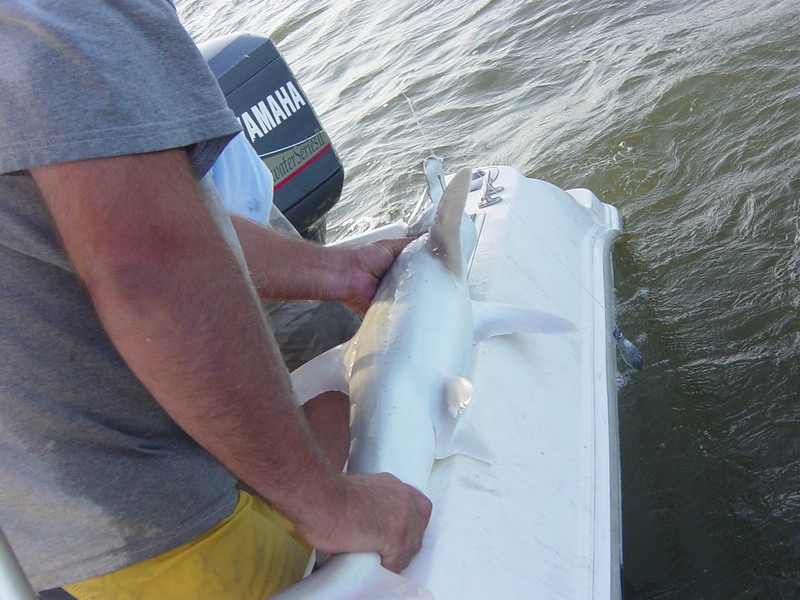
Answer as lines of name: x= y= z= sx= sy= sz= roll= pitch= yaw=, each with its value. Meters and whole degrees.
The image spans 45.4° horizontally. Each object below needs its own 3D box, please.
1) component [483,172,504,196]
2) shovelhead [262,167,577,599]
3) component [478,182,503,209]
component: x=0.433 y=-0.523 z=4.436 sx=0.102 sy=0.044 sz=0.130 roll=-11 pitch=47 yaw=30
shovelhead: x=0.135 y=0.321 z=3.307 sx=0.744 sy=0.328 sz=1.325 roll=-22 pitch=27 yaw=33
component: x=0.411 y=-0.467 z=4.337 sx=0.098 sy=0.041 sz=0.133 roll=-21 pitch=24 yaw=21
